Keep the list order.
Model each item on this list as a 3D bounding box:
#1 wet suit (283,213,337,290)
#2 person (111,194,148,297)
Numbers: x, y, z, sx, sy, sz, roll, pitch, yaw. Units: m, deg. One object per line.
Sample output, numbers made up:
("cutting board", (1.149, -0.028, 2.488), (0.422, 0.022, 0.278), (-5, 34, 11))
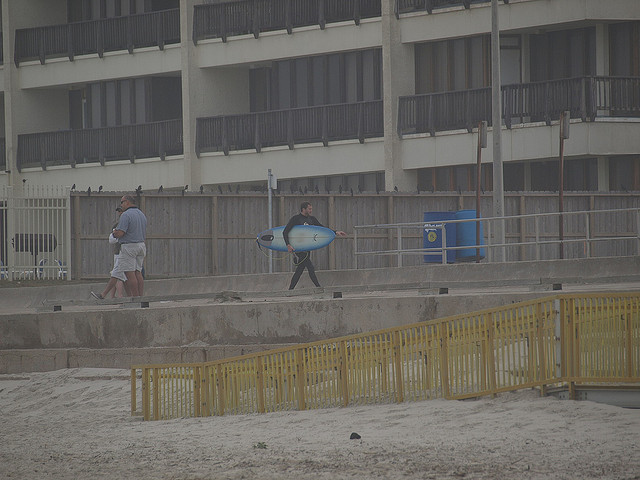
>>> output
("wet suit", (-0.452, 0.344, 49.597), (1.015, 2.164, 0.970), (-6, 13, -8))
("person", (-4.882, 0.170, 47.288), (0.717, 2.554, 0.922), (-2, 13, 8))
